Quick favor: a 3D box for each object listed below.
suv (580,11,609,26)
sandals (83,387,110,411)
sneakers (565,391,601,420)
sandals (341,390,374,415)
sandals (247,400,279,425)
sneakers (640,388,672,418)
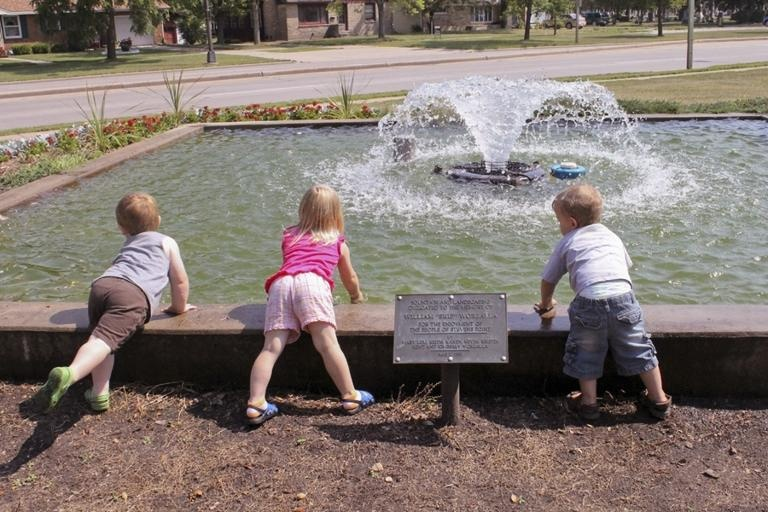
[{"bbox_3d":[19.236,-21.523,78.976,1.495,1.066,3.176,-11,27,-14],"label":"suv"},{"bbox_3d":[-2.744,1.384,8.323,0.233,0.199,0.112,0,19,7],"label":"sandals"},{"bbox_3d":[1.881,1.413,8.297,0.158,0.157,0.379,-7,16,-11],"label":"sneakers"},{"bbox_3d":[-0.235,1.396,8.270,0.164,0.136,0.337,7,15,39],"label":"sandals"},{"bbox_3d":[-1.124,1.475,8.227,0.133,0.144,0.334,10,14,38],"label":"sandals"},{"bbox_3d":[2.560,1.396,8.209,0.152,0.156,0.352,-6,18,-5],"label":"sneakers"}]
